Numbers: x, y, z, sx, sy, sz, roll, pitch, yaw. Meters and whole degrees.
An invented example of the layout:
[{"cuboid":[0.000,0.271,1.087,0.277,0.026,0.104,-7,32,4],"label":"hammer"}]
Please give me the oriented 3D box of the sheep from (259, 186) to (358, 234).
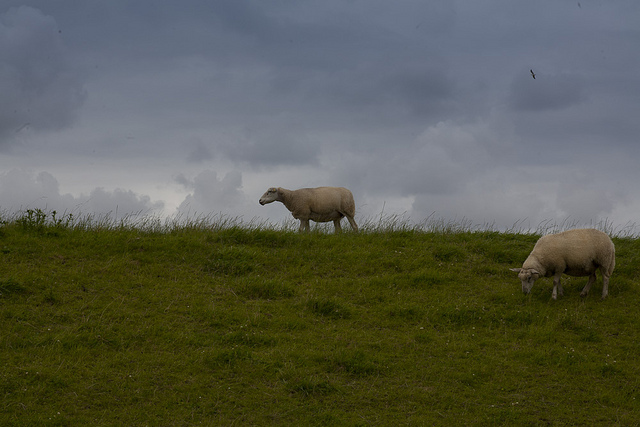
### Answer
[{"cuboid":[-0.442,-0.027,32.209,3.726,2.183,1.078,-1,8,-2],"label":"sheep"}]
